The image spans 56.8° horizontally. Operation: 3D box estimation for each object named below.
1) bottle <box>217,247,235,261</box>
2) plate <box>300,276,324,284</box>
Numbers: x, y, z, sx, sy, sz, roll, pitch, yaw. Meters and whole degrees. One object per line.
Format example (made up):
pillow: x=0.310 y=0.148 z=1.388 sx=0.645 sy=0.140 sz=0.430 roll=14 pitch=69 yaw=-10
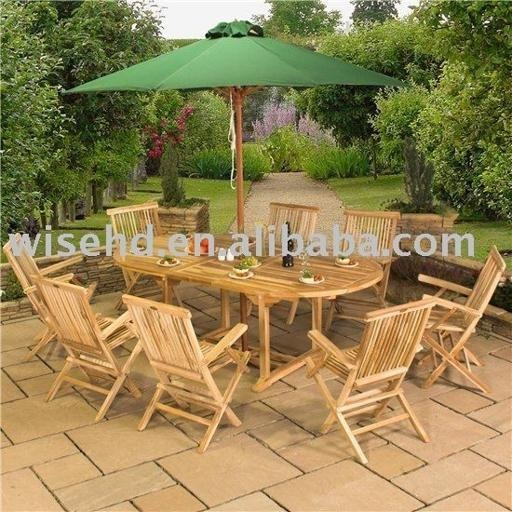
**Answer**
bottle: x=-0.276 y=-0.010 z=4.427 sx=0.162 sy=0.124 sz=0.091 roll=-3 pitch=7 yaw=-7
plate: x=0.440 y=0.176 z=3.726 sx=0.191 sy=0.062 sz=0.143 roll=0 pitch=13 yaw=3
